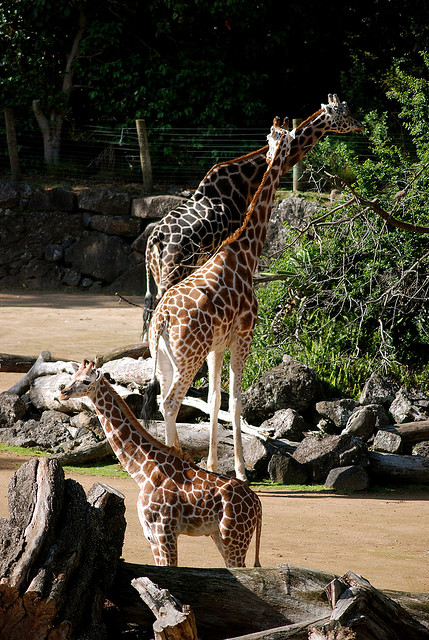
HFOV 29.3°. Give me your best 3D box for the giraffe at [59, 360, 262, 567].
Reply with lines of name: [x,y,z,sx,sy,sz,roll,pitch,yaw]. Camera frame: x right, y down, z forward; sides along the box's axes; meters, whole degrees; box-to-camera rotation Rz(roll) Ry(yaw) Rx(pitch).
giraffe: [-0.299,0.860,4.530,1.098,1.047,0.577,6,15,40]

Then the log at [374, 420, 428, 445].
log: [1.931,1.161,8.433,0.450,0.114,0.231,-1,19,3]
